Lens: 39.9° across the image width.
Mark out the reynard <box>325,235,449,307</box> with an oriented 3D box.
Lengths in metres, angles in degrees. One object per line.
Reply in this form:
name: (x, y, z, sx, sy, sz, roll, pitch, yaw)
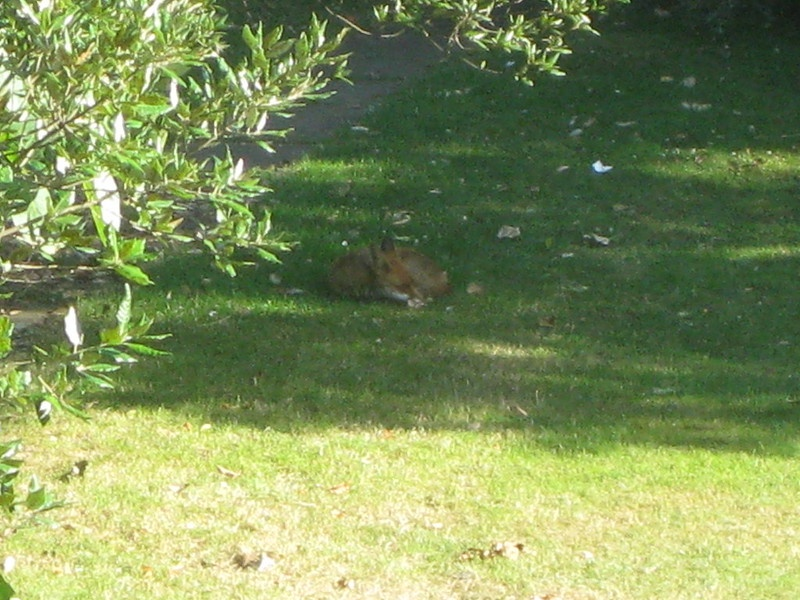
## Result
reynard: (-0.182, -0.282, 12.860, 1.217, 0.349, 0.934, -19, 57, -16)
